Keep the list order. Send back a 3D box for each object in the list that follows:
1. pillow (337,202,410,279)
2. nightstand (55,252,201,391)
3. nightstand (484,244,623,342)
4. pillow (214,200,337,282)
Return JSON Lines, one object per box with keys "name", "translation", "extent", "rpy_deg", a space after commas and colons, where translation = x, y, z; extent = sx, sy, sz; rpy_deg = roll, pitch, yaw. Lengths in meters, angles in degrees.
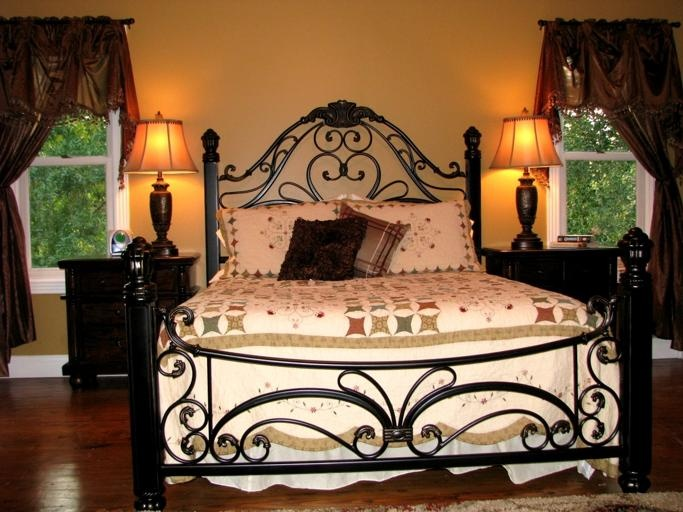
{"name": "pillow", "translation": [0.219, -0.074, 4.135], "extent": [0.402, 0.377, 0.113], "rpy_deg": [15, -17, -1]}
{"name": "nightstand", "translation": [-1.415, 0.469, 4.839], "extent": [0.924, 0.855, 0.594], "rpy_deg": [-2, -2, 3]}
{"name": "nightstand", "translation": [1.471, 0.212, 4.698], "extent": [0.702, 0.657, 0.454], "rpy_deg": [0, 3, -8]}
{"name": "pillow", "translation": [-0.469, -0.111, 4.231], "extent": [0.756, 0.433, 0.199], "rpy_deg": [-3, -11, -8]}
